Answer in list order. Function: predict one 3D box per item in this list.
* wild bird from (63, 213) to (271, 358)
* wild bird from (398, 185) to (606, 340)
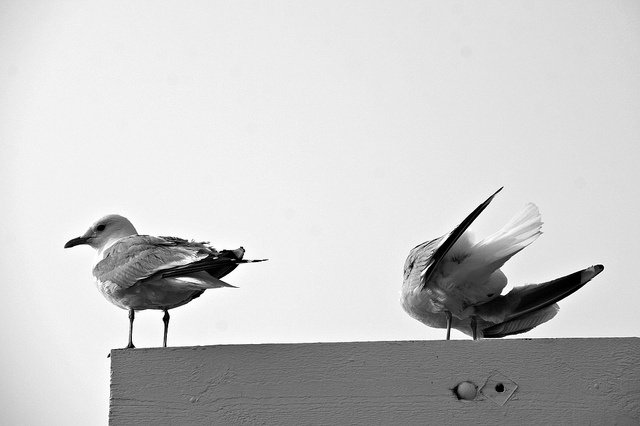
[{"bbox_3d":[-0.456,0.178,4.099,0.762,0.425,0.262,-12,-20,42],"label":"wild bird"},{"bbox_3d":[0.388,0.233,4.102,0.359,0.389,0.561,46,-11,0],"label":"wild bird"}]
